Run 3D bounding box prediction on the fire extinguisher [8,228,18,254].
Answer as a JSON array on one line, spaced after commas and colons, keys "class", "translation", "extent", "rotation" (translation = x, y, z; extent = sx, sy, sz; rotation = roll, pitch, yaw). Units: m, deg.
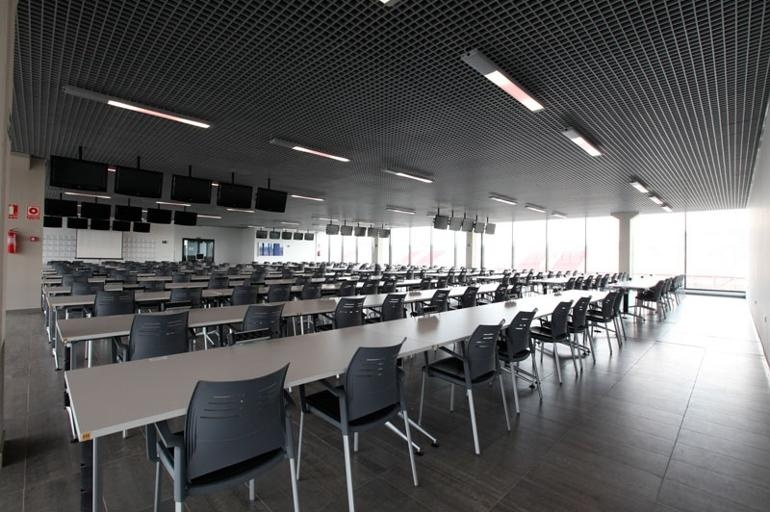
[{"class": "fire extinguisher", "translation": [-8.251, -0.292, 10.003], "extent": [0.100, 0.529, 0.179], "rotation": [0, -2, 9]}]
